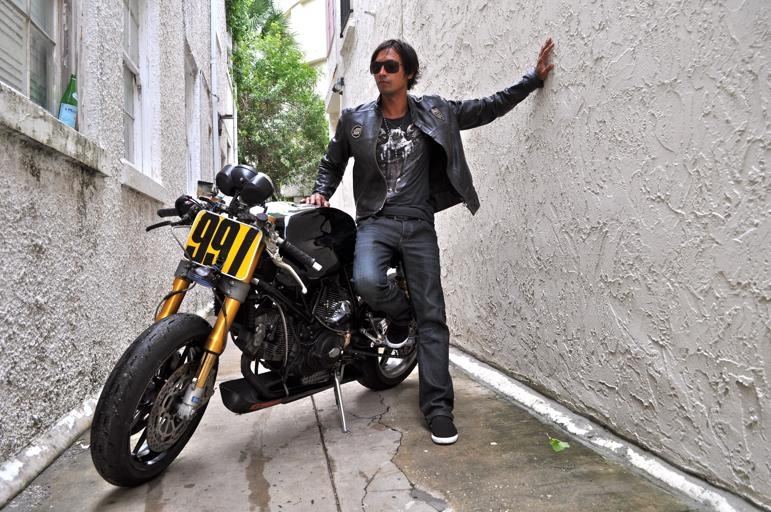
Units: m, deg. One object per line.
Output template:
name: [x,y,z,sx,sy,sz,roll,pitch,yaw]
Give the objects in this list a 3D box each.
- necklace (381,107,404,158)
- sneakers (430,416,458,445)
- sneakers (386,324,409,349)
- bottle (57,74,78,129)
necklace: [0.041,-0.759,3.234,0.133,0.225,0.215,-2,10,-10]
sneakers: [0.324,0.950,2.884,0.166,0.116,0.171,-1,8,7]
sneakers: [0.073,0.491,3.274,0.146,0.113,0.145,13,-9,-42]
bottle: [-1.965,-0.958,3.219,0.092,0.336,0.155,-4,8,-15]
